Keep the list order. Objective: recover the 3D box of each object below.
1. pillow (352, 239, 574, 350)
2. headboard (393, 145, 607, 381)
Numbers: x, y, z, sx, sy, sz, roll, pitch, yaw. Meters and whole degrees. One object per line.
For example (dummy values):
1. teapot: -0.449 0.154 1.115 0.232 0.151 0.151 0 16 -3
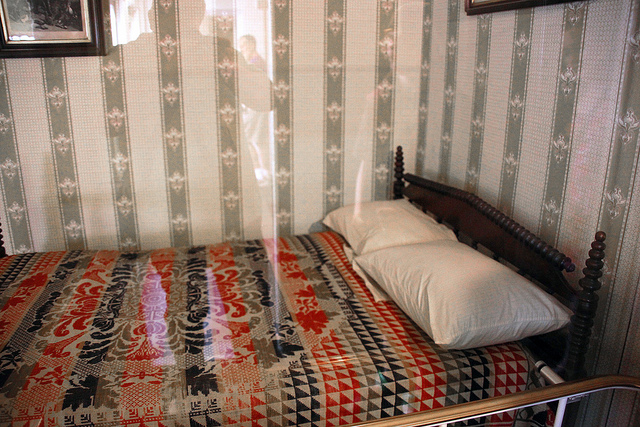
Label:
1. pillow: 0.648 0.354 2.226 0.768 0.266 0.860 -12 25 -24
2. headboard: 0.946 0.137 2.587 0.144 0.628 1.678 -14 27 -14
